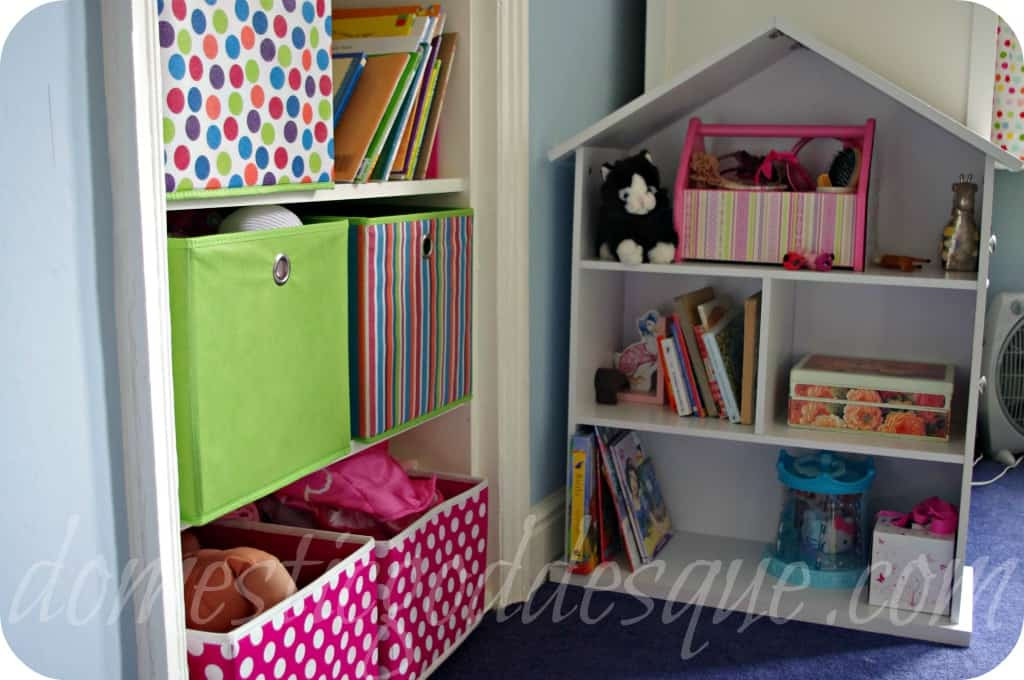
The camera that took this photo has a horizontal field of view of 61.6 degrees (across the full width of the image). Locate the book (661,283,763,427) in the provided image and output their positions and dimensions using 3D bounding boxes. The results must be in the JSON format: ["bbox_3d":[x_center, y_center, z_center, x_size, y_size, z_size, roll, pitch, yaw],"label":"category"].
[{"bbox_3d":[0.540,0.036,2.370,0.339,0.343,0.270,6,13,30],"label":"book"}]

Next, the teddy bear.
[{"bbox_3d":[0.332,-0.353,2.270,0.208,0.294,0.129,0,10,6],"label":"teddy bear"}]

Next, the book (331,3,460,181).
[{"bbox_3d":[-0.326,-0.577,1.959,0.289,0.424,0.392,2,11,21],"label":"book"}]

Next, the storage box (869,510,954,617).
[{"bbox_3d":[0.996,0.555,2.172,0.191,0.202,0.198,3,2,11],"label":"storage box"}]

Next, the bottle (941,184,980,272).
[{"bbox_3d":[1.132,-0.284,2.154,0.096,0.223,0.080,-10,13,-43],"label":"bottle"}]

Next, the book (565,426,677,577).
[{"bbox_3d":[0.292,0.460,2.389,0.187,0.375,0.362,-7,2,25],"label":"book"}]

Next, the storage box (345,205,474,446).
[{"bbox_3d":[-0.241,-0.054,1.944,0.260,0.498,0.487,6,12,28],"label":"storage box"}]

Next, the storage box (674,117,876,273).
[{"bbox_3d":[0.664,-0.329,2.268,0.620,0.532,0.368,5,12,21],"label":"storage box"}]

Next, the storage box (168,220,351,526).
[{"bbox_3d":[-0.542,0.054,1.701,0.246,0.446,0.442,-12,-17,21],"label":"storage box"}]

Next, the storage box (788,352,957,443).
[{"bbox_3d":[0.960,0.146,2.279,0.391,0.169,0.273,4,12,28],"label":"storage box"}]
